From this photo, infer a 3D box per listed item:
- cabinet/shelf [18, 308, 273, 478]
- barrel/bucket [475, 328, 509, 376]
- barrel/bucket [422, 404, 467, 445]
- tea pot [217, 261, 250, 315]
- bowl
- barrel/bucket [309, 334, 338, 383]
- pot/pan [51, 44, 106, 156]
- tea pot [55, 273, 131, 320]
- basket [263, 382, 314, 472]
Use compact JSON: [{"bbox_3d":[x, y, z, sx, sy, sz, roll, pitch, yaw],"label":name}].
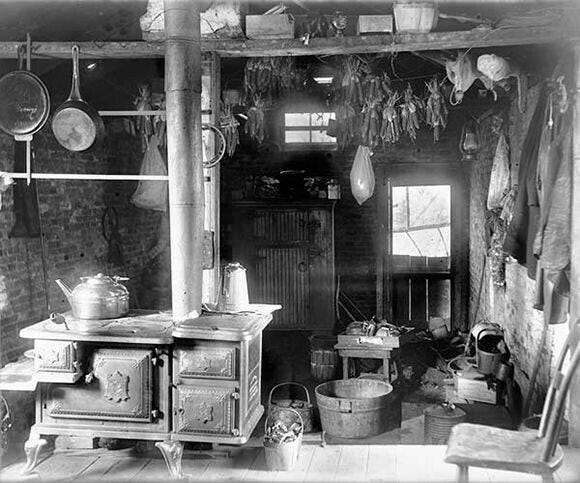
[{"bbox_3d":[-0.880,0.716,4.691,1.484,1.103,1.106,-1,-5,6],"label":"cabinet/shelf"},{"bbox_3d":[2.044,1.130,6.421,0.333,0.443,0.412,1,-12,0],"label":"barrel/bucket"},{"bbox_3d":[1.391,1.664,5.764,0.327,0.353,0.362,3,5,18],"label":"barrel/bucket"},{"bbox_3d":[-0.420,0.343,4.819,0.279,0.464,0.300,-1,4,0],"label":"tea pot"},{"bbox_3d":[0.680,1.637,6.212,0.877,0.494,0.606,1,-1,-10],"label":"bowl"},{"bbox_3d":[0.414,1.441,7.777,0.367,0.582,0.399,2,-1,0],"label":"barrel/bucket"},{"bbox_3d":[-1.562,-1.051,4.667,0.322,0.733,0.354,0,-1,33],"label":"pot/pan"},{"bbox_3d":[-1.432,0.388,4.600,0.485,0.290,0.342,-1,4,-9],"label":"tea pot"},{"bbox_3d":[0.086,1.541,4.975,0.346,0.682,0.646,0,-9,7],"label":"basket"}]
